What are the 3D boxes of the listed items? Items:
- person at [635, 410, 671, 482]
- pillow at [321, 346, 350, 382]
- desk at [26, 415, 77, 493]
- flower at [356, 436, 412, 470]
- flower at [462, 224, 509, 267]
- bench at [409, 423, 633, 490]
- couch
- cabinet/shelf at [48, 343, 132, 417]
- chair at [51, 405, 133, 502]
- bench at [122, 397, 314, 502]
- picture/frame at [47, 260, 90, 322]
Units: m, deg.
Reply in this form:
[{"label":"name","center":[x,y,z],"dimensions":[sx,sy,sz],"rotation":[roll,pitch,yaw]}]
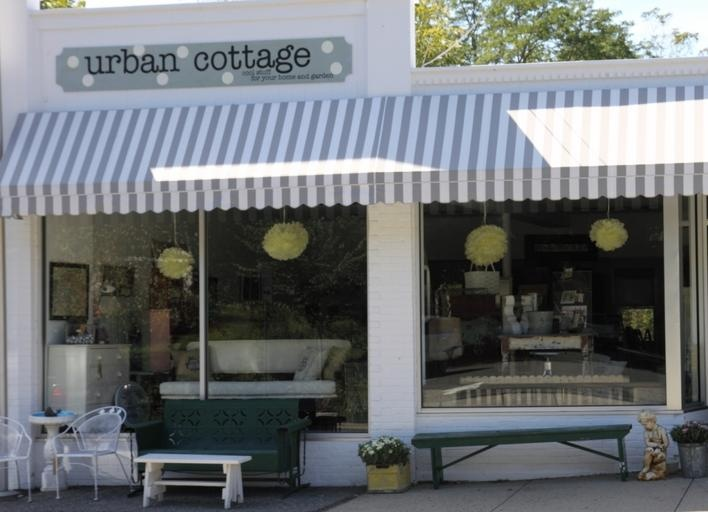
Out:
[{"label":"person","center":[4.472,2.781,14.371],"dimensions":[0.404,1.016,0.441],"rotation":[2,-1,-42]},{"label":"pillow","center":[-0.298,1.672,15.304],"dimensions":[0.340,0.625,0.149],"rotation":[26,4,34]},{"label":"desk","center":[-4.789,3.073,15.200],"dimensions":[0.685,1.216,0.728],"rotation":[-2,-3,-19]},{"label":"flower","center":[0.470,2.958,14.533],"dimensions":[0.772,0.444,0.299],"rotation":[-3,-3,-4]},{"label":"flower","center":[2.117,-0.150,15.426],"dimensions":[0.559,0.649,0.665],"rotation":[4,-3,-8]},{"label":"bench","center":[2.532,3.000,14.524],"dimensions":[3.230,0.826,0.643],"rotation":[-3,-3,4]},{"label":"couch","center":[-1.514,1.799,15.279],"dimensions":[2.831,0.893,1.199],"rotation":[-1,0,7]},{"label":"cabinet/shelf","center":[-4.375,1.966,16.056],"dimensions":[1.540,1.448,0.881],"rotation":[-1,-5,4]},{"label":"chair","center":[-4.205,3.062,15.363],"dimensions":[0.973,1.448,0.867],"rotation":[3,-3,32]},{"label":"bench","center":[-1.913,3.039,14.879],"dimensions":[2.929,1.589,1.908],"rotation":[-1,-6,9]},{"label":"picture/frame","center":[-4.728,0.598,15.724],"dimensions":[1.008,1.357,0.072],"rotation":[0,0,-7]}]
